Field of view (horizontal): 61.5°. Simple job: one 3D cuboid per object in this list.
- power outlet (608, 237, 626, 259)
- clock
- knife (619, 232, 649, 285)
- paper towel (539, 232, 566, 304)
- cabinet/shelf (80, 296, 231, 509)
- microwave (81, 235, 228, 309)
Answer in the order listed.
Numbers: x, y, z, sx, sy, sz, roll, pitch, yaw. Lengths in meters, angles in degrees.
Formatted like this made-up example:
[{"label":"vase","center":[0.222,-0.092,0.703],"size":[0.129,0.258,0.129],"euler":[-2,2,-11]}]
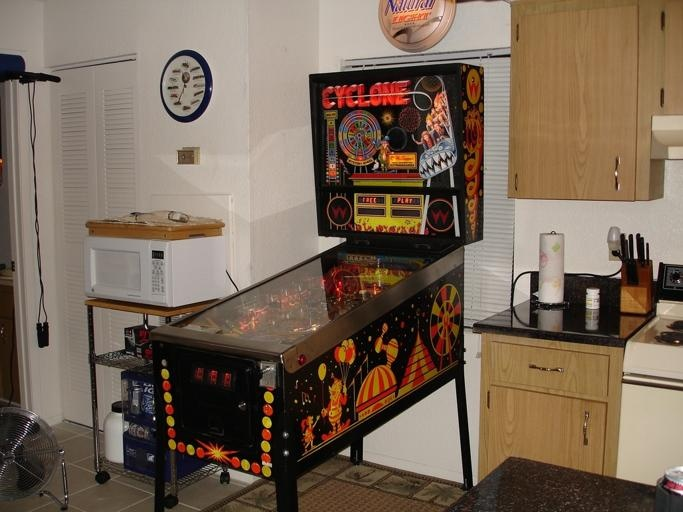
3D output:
[{"label":"power outlet","center":[1.454,-0.051,3.074],"size":[0.074,0.128,0.122],"euler":[0,-2,23]},{"label":"clock","center":[-0.948,-1.061,3.567],"size":[0.429,0.489,0.055],"euler":[6,7,37]},{"label":"knife","center":[1.564,0.006,3.071],"size":[0.145,0.259,0.276],"euler":[3,10,29]},{"label":"paper towel","center":[1.159,0.070,3.165],"size":[0.154,0.400,0.137],"euler":[0,8,6]},{"label":"cabinet/shelf","center":[-1.267,0.814,3.646],"size":[0.580,1.190,1.401],"euler":[-9,11,-43]},{"label":"microwave","center":[-1.016,0.015,3.384],"size":[0.604,0.365,0.438],"euler":[4,5,34]}]
